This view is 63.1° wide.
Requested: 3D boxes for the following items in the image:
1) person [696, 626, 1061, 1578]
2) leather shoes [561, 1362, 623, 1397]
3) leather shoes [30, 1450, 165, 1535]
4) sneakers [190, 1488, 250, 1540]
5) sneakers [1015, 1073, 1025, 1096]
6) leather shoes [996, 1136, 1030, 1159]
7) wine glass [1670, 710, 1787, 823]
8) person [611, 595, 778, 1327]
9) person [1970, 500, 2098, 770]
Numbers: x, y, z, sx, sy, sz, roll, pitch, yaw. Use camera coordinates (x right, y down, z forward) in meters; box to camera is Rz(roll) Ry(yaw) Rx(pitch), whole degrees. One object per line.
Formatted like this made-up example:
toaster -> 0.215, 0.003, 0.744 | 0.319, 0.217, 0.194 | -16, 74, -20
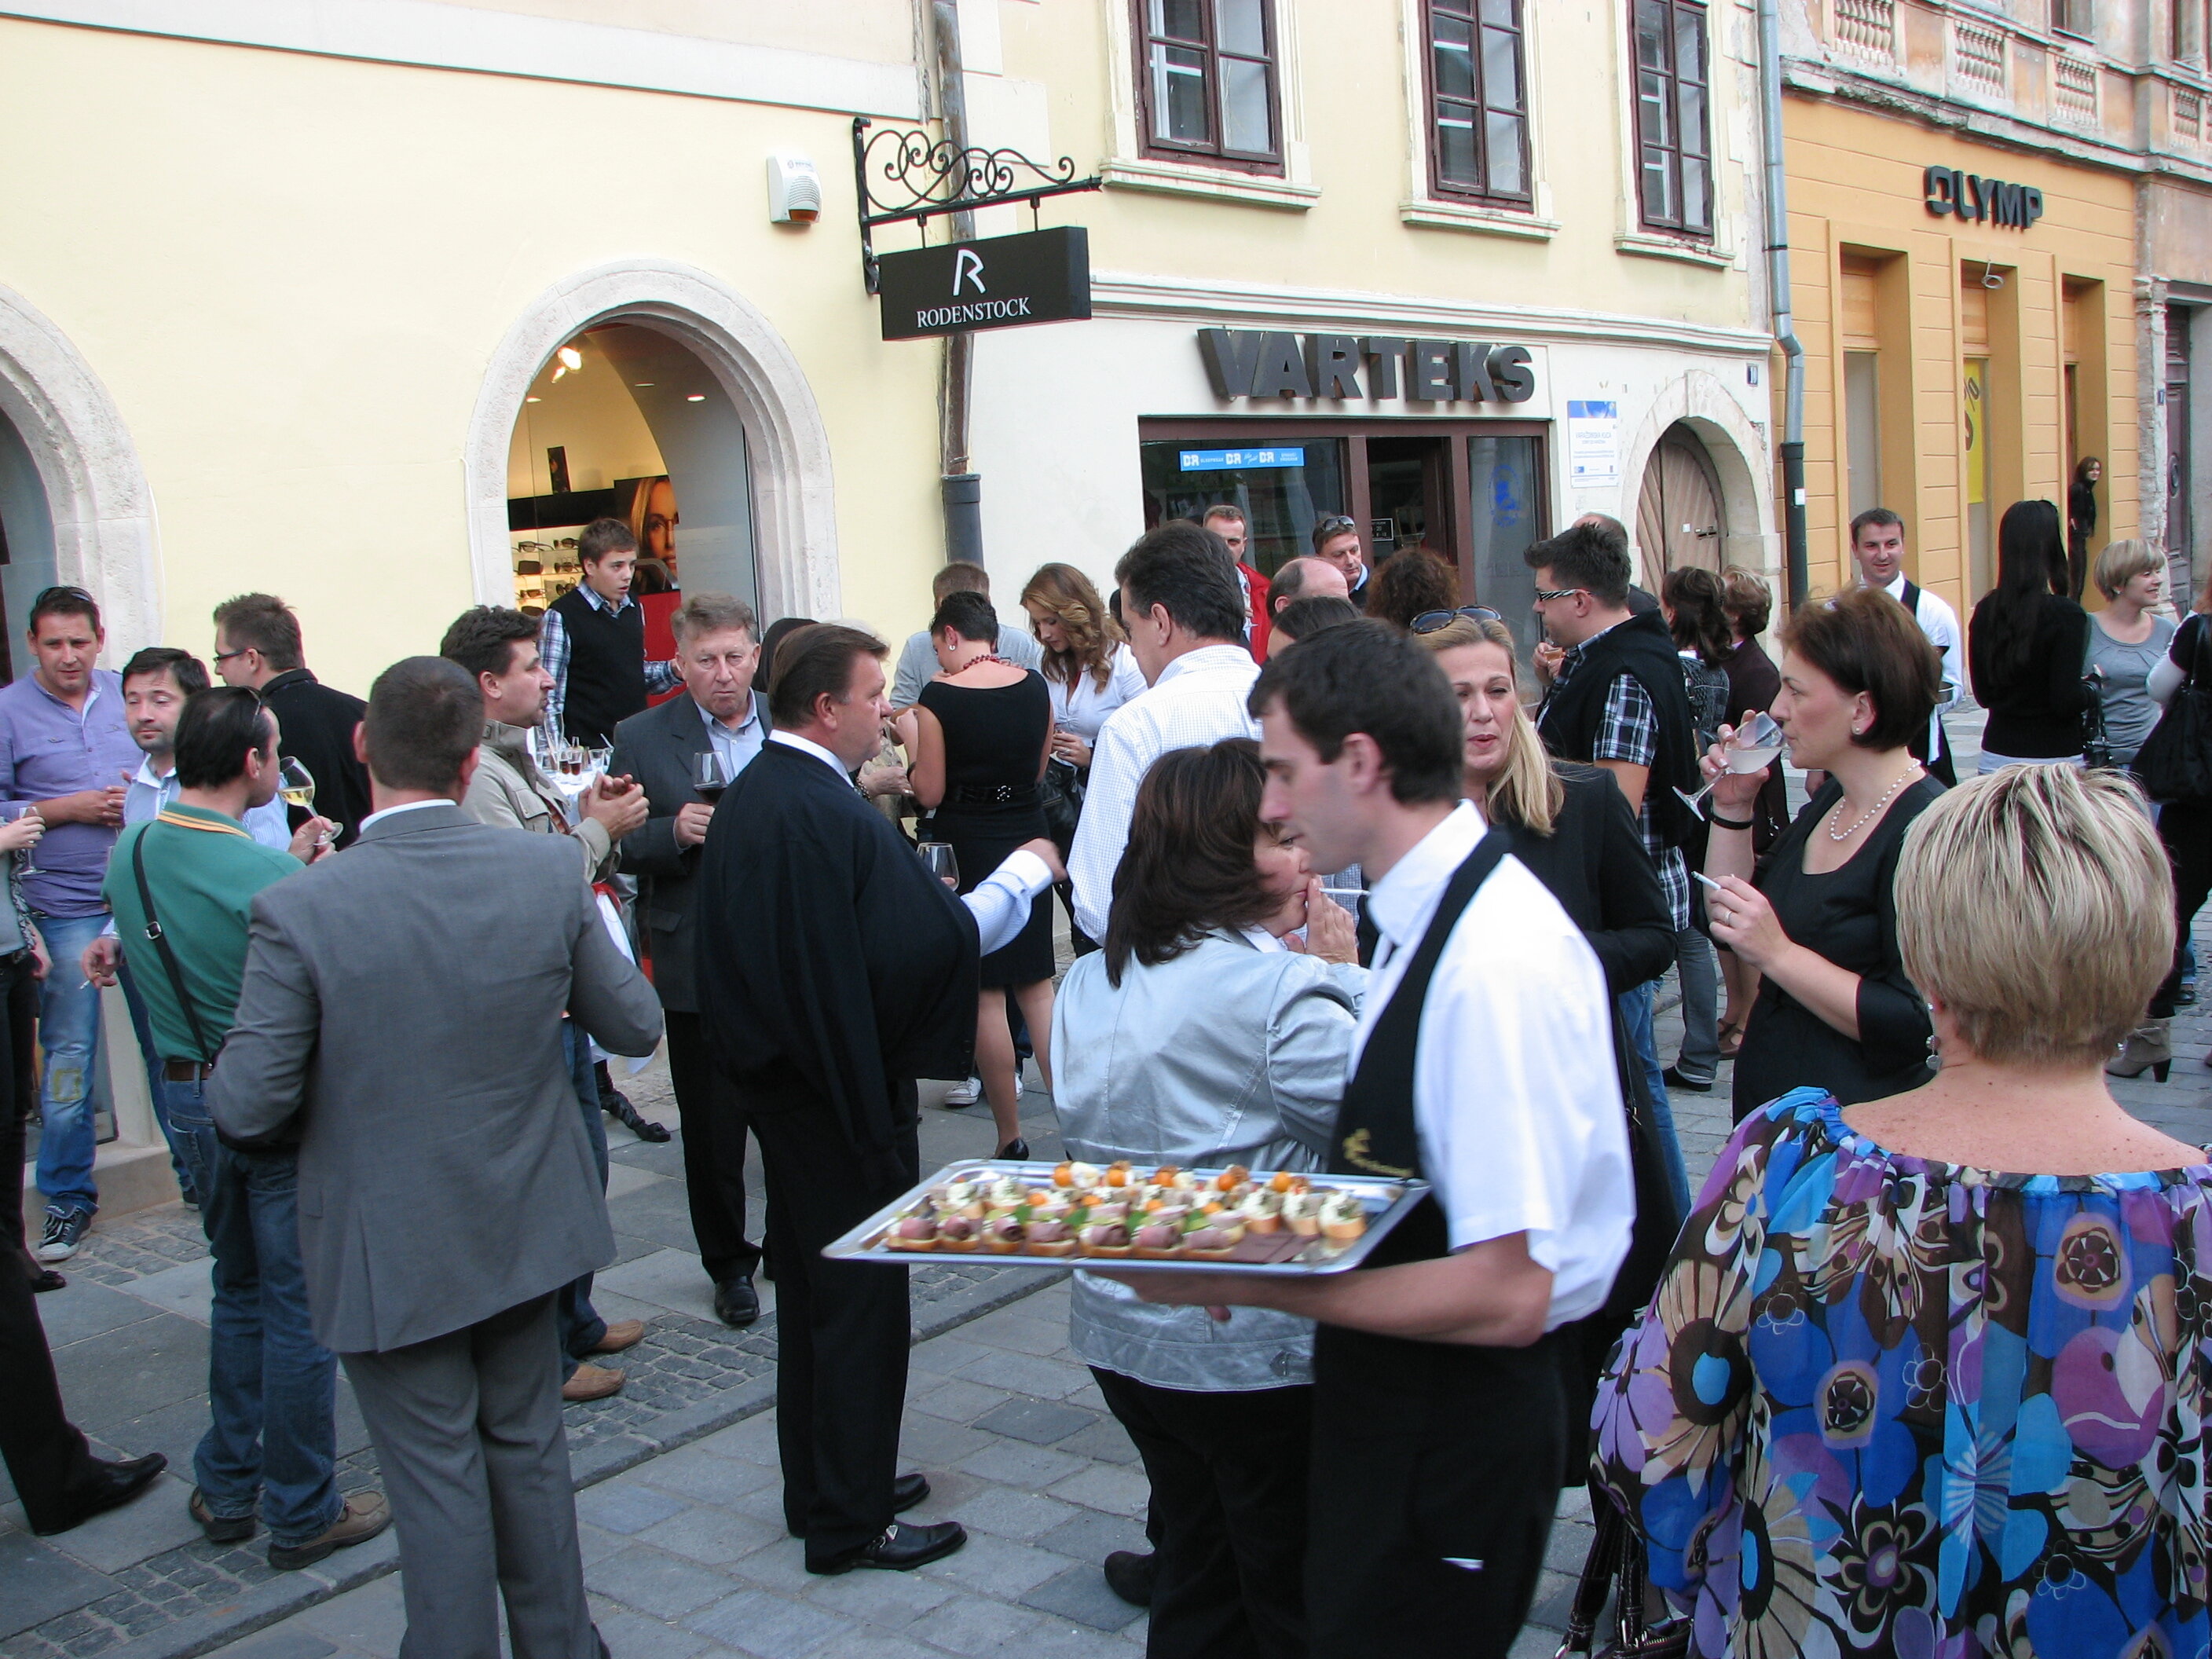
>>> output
person -> -0.632, 0.666, 4.486 | 0.747, 2.300, 0.459 | -3, 9, -7
leather shoes -> -1.557, 1.655, 5.426 | 0.173, 0.082, 0.068 | -5, 16, -5
leather shoes -> -2.720, 1.758, 4.877 | 0.110, 0.156, 0.340 | 15, 24, 34
sneakers -> -2.338, 1.808, 4.751 | 0.215, 0.100, 0.081 | 16, 15, 39
sneakers -> -0.396, 1.131, 7.944 | 0.042, 0.038, 0.151 | -19, 4, 5
leather shoes -> -0.358, 1.217, 6.873 | 0.069, 0.089, 0.135 | -1, -10, -1
wine glass -> 1.919, -0.206, 5.644 | 0.387, 0.216, 0.179 | -31, -21, 16
person -> -1.326, 0.453, 6.088 | 0.645, 2.217, 0.552 | -1, 8, 4
person -> 4.093, -0.862, 8.019 | 0.461, 1.173, 0.632 | 3, 11, 32
